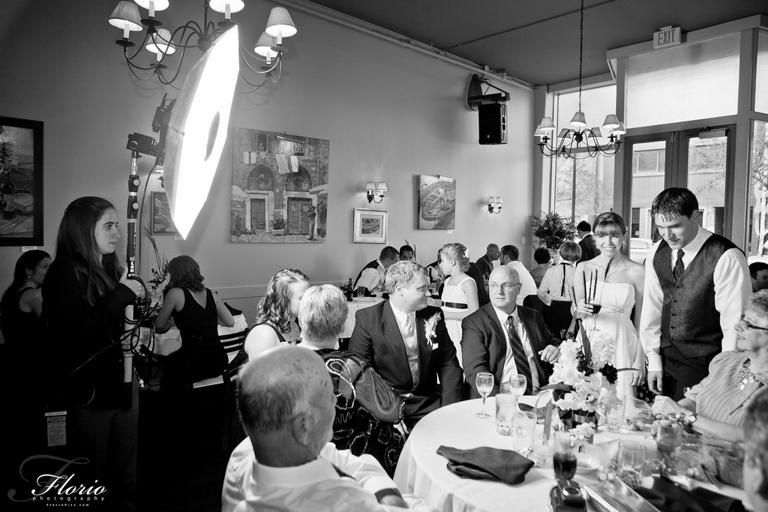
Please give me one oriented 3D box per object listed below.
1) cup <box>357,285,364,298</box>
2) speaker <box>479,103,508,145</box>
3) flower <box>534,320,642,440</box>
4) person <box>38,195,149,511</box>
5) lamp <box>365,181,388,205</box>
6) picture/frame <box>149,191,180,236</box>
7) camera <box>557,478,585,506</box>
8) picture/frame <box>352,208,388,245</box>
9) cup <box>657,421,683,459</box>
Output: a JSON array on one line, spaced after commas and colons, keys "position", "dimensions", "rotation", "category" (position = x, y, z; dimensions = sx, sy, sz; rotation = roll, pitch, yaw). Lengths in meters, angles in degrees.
[{"position": [-0.319, 0.488, 8.082], "dimensions": [0.096, 0.162, 0.104], "rotation": [0, 3, 0], "category": "cup"}, {"position": [1.887, -2.311, 10.334], "dimensions": [0.494, 0.658, 0.423], "rotation": [1, 7, 19], "category": "speaker"}, {"position": [1.272, 0.862, 3.817], "dimensions": [0.582, 0.640, 0.582], "rotation": [-15, 27, -31], "category": "flower"}, {"position": [-1.937, 0.720, 3.968], "dimensions": [0.587, 2.229, 0.260], "rotation": [-1, 4, -32], "category": "person"}, {"position": [-0.132, -0.972, 9.010], "dimensions": [0.369, 0.339, 0.132], "rotation": [0, 4, -22], "category": "lamp"}, {"position": [-2.627, -0.512, 7.087], "dimensions": [0.217, 0.527, 0.349], "rotation": [2, 4, 3], "category": "picture/frame"}, {"position": [1.040, 1.308, 3.262], "dimensions": [0.143, 0.106, 0.149], "rotation": [2, 4, 12], "category": "camera"}, {"position": [-0.200, -0.459, 9.036], "dimensions": [0.617, 0.512, 0.038], "rotation": [1, 3, -38], "category": "picture/frame"}, {"position": [1.693, 1.086, 3.520], "dimensions": [0.168, 0.202, 0.174], "rotation": [1, -13, 0], "category": "cup"}]
